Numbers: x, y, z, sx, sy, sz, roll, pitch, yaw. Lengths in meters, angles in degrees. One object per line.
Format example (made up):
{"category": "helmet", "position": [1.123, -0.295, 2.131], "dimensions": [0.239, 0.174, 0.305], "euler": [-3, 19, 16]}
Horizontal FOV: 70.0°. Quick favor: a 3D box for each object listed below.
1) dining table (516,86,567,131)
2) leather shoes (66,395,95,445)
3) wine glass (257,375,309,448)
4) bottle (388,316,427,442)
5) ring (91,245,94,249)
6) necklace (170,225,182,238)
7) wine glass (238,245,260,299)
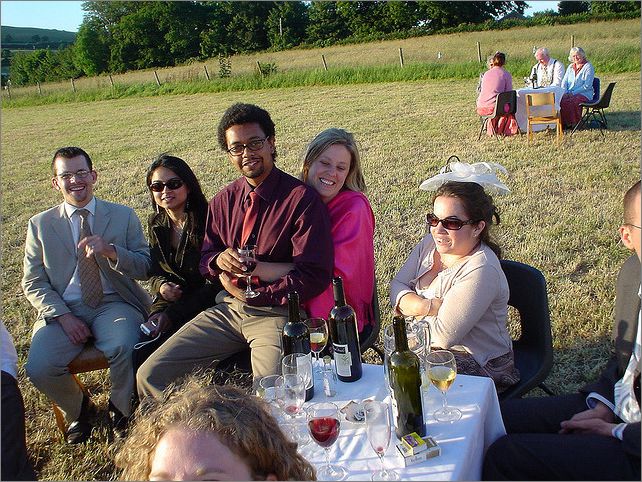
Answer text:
{"category": "dining table", "position": [4.592, -2.764, 9.725], "dimensions": [0.827, 0.919, 0.884], "euler": [11, 33, 31]}
{"category": "leather shoes", "position": [-1.956, 1.431, 3.689], "dimensions": [0.222, 0.273, 0.310], "euler": [-12, 15, -25]}
{"category": "wine glass", "position": [-0.174, 0.778, 2.082], "dimensions": [0.159, 0.308, 0.195], "euler": [-21, 13, 1]}
{"category": "bottle", "position": [0.393, 0.622, 2.147], "dimensions": [0.178, 0.604, 0.175], "euler": [-4, 12, 1]}
{"category": "ring", "position": [-1.901, 0.046, 3.804], "dimensions": [0.019, 0.023, 0.005], "euler": [0, -11, -6]}
{"category": "necklace", "position": [-1.300, -0.098, 4.103], "dimensions": [0.085, 0.077, 0.091], "euler": [-12, -19, 29]}
{"category": "wine glass", "position": [-0.534, 0.214, 3.375], "dimensions": [0.125, 0.384, 0.223], "euler": [-7, 13, -10]}
